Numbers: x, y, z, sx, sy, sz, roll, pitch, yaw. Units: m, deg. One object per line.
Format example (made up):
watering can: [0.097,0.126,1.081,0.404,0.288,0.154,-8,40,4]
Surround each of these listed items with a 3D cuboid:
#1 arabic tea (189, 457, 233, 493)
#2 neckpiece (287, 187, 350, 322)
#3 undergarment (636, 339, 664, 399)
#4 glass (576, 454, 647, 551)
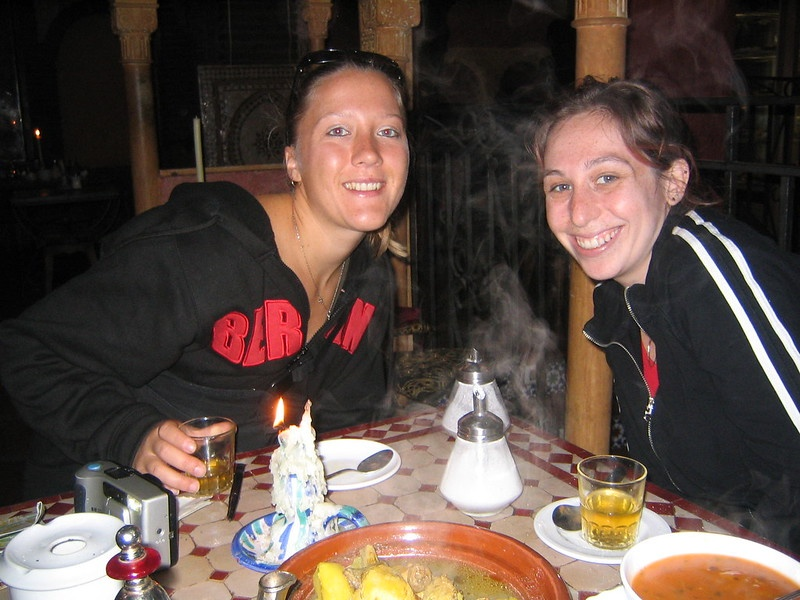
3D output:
arabic tea: [-0.545,0.544,1.981,0.100,0.092,0.099,5,-23,-38]
neckpiece: [-0.352,-0.152,2.921,0.152,0.064,0.550,-17,49,-1]
undergarment: [0.910,0.238,2.345,0.089,0.160,0.038,-8,-21,35]
glass: [0.538,0.519,1.733,0.208,0.216,0.210,-2,9,-5]
